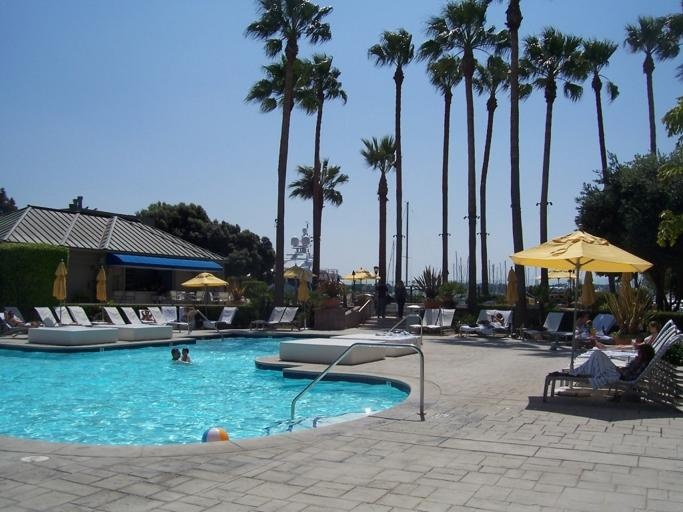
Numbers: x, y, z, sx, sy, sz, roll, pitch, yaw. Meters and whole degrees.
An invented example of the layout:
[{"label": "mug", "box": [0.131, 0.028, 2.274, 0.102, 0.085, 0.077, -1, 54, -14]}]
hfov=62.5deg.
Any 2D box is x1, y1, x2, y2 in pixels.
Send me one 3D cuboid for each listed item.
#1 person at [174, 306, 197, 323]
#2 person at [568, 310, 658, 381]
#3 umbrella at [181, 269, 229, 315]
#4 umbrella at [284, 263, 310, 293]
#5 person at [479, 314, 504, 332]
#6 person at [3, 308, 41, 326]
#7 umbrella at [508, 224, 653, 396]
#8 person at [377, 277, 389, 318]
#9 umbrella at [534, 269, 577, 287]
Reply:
[{"label": "person", "box": [-7.107, 2.682, 25.547, 0.654, 0.672, 0.876, 0, -7, 6]}, {"label": "person", "box": [4.731, 1.659, 9.900, 1.880, 1.374, 1.156, -3, -1, 12]}, {"label": "umbrella", "box": [-7.332, 2.255, 29.851, 2.411, 2.019, 2.618, -1, -1, 9]}, {"label": "umbrella", "box": [-2.946, 1.472, 37.237, 1.976, 1.843, 2.077, 0, 3, -8]}, {"label": "person", "box": [6.098, 2.854, 23.008, 0.567, 0.756, 1.680, 6, 7, 40]}, {"label": "person", "box": [-12.862, 2.469, 22.593, 2.065, 0.919, 0.640, -4, -6, 28]}, {"label": "umbrella", "box": [4.871, 1.045, 11.442, 2.723, 3.084, 2.550, 5, 1, -9]}, {"label": "person", "box": [2.067, 2.210, 28.470, 0.507, 1.790, 1.582, 0, -4, 3]}, {"label": "umbrella", "box": [12.803, 1.339, 33.742, 1.858, 0.830, 1.947, 0, 1, 38]}]
